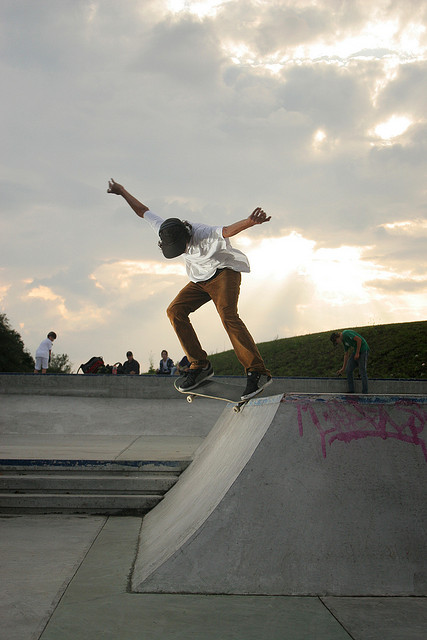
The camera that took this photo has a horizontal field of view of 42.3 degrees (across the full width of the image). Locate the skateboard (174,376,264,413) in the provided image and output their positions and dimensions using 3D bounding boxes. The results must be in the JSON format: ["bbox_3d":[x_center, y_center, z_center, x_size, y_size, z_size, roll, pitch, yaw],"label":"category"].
[{"bbox_3d":[-0.009,0.600,4.486,0.934,0.150,0.244,12,25,30],"label":"skateboard"}]

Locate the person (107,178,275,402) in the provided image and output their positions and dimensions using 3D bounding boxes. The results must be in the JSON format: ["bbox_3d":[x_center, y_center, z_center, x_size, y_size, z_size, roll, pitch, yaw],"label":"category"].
[{"bbox_3d":[-0.032,-0.090,4.321,0.835,1.579,0.514,-4,-1,32],"label":"person"}]

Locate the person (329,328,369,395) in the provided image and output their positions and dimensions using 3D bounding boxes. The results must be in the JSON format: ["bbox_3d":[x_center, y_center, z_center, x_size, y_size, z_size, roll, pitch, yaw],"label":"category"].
[{"bbox_3d":[2.535,0.797,10.276,0.625,1.202,2.202,-4,-1,13],"label":"person"}]

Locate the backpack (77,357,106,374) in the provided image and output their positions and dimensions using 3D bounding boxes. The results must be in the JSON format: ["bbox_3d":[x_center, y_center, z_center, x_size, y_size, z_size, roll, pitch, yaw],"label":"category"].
[{"bbox_3d":[-2.767,1.071,12.844,0.323,0.352,0.712,-4,-1,15],"label":"backpack"}]
